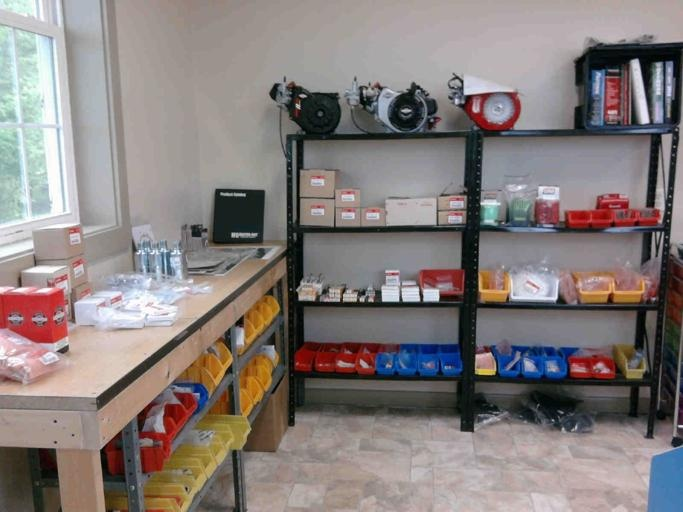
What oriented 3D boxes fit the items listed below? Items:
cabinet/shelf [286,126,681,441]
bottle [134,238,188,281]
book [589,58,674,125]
[{"bbox_3d":[1.036,0.143,3.849,2.028,1.744,0.436,0,6,0],"label":"cabinet/shelf"},{"bbox_3d":[-0.939,0.010,2.976,0.245,0.261,0.187,1,6,3],"label":"bottle"},{"bbox_3d":[1.779,-0.999,3.485,0.399,0.385,0.232,1,4,3],"label":"book"}]
